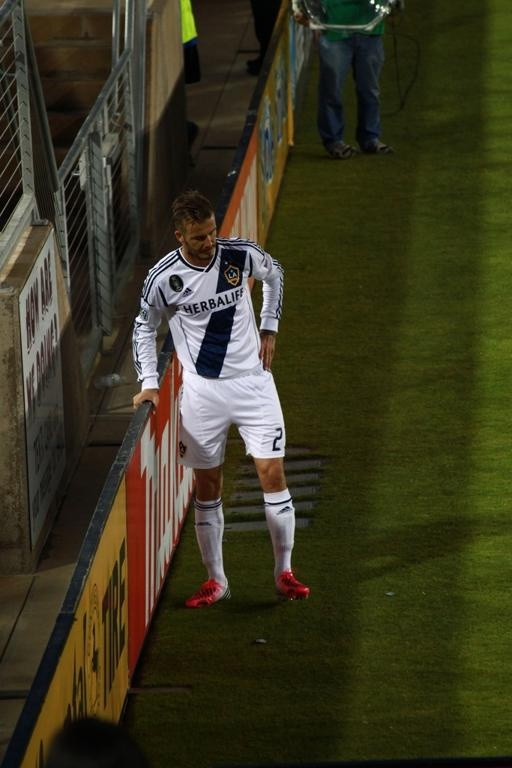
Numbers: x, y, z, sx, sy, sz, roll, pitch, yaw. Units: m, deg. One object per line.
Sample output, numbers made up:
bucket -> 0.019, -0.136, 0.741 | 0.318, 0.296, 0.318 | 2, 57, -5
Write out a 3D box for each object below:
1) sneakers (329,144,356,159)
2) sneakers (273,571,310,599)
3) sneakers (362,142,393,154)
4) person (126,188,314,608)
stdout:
sneakers -> 0.720, -1.960, 10.405 | 0.196, 0.099, 0.108 | -7, 7, 45
sneakers -> 0.140, 0.842, 5.274 | 0.072, 0.106, 0.198 | -2, 1, -26
sneakers -> 1.010, -1.993, 10.465 | 0.236, 0.124, 0.108 | 0, 9, 8
person -> -0.151, 0.017, 5.046 | 0.674, 1.705, 0.523 | -3, 25, -5
